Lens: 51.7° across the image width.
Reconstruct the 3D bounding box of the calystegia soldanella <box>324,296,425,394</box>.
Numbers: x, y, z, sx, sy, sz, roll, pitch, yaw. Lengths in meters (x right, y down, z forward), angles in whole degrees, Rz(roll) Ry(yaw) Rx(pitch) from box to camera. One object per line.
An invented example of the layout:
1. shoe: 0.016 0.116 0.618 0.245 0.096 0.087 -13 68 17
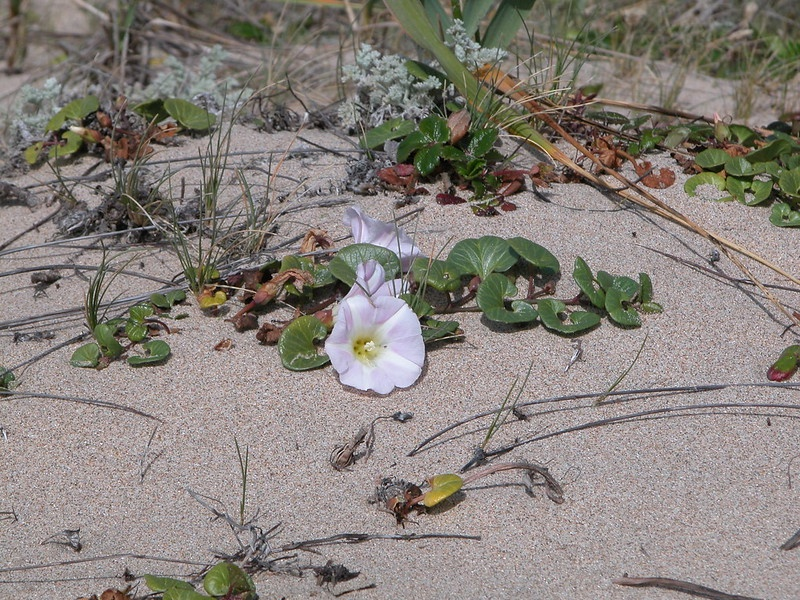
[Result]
1. calystegia soldanella: -0.098 0.156 3.128 0.369 0.216 0.328 -14 54 -12
